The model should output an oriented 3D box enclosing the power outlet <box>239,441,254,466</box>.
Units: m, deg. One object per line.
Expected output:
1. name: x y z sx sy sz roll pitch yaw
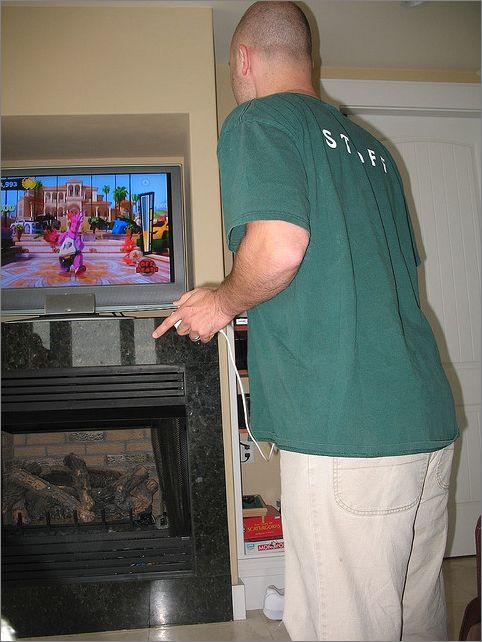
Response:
1. power outlet: 0.026 0.575 2.475 0.023 0.089 0.099 2 0 38
